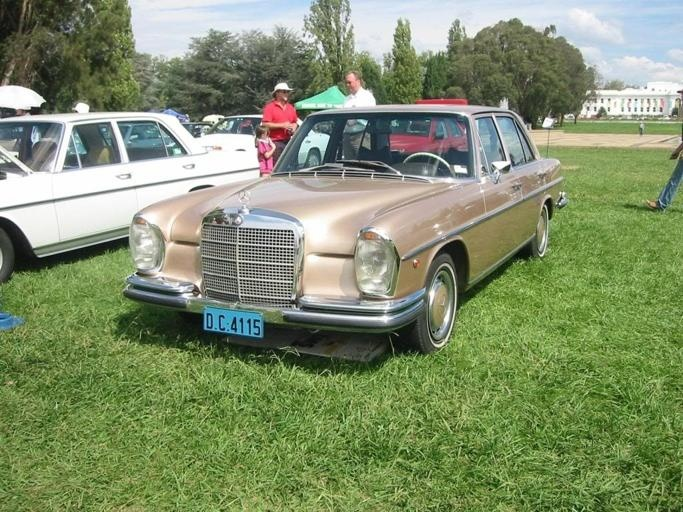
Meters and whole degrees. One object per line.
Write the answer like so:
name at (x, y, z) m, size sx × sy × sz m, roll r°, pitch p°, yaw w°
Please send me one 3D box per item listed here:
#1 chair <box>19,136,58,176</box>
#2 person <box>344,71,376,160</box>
chair at (-3.714, -1.252, 6.683) m, size 0.420 × 0.493 × 0.537 m, roll 13°, pitch 10°, yaw 9°
person at (0.094, -2.100, 8.176) m, size 0.419 × 1.242 × 0.451 m, roll 19°, pitch 6°, yaw 25°
